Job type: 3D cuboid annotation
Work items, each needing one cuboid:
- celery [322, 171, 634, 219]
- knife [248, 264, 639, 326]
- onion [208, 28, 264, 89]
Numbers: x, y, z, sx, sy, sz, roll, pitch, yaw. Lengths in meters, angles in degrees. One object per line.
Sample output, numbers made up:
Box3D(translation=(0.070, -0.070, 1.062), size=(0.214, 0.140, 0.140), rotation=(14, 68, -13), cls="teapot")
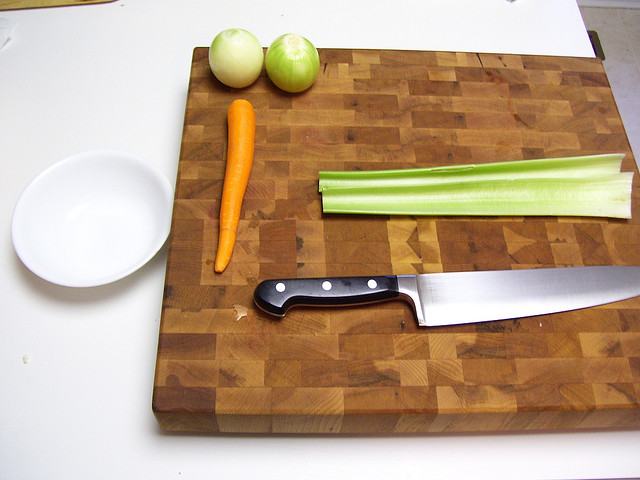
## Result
Box3D(translation=(0.420, -0.126, 1.635), size=(0.599, 0.088, 0.125), rotation=(1, 67, -3), cls="celery")
Box3D(translation=(0.304, 0.154, 1.514), size=(1.059, 0.054, 0.167), rotation=(-1, 51, 0), cls="knife")
Box3D(translation=(-0.248, -0.537, 1.680), size=(0.154, 0.158, 0.165), rotation=(11, 80, -11), cls="onion")
